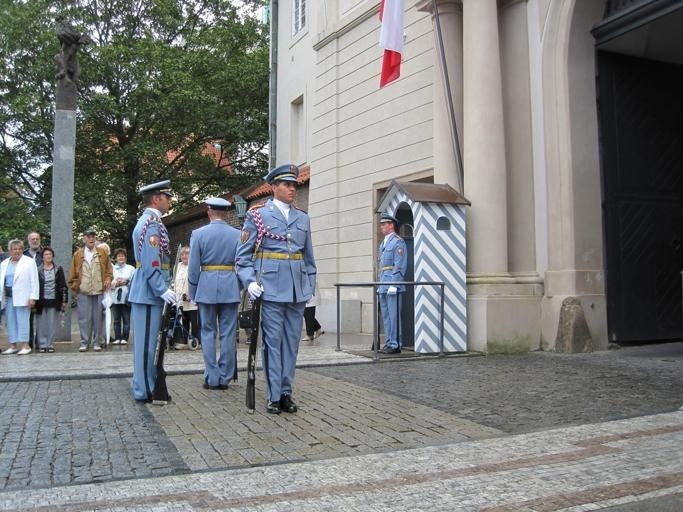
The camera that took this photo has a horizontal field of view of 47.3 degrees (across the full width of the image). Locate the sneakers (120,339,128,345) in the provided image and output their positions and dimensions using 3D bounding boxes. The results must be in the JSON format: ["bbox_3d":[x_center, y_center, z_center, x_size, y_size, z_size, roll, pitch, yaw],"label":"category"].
[{"bbox_3d":[-4.173,1.625,14.826,0.088,0.094,0.234,0,-9,-8],"label":"sneakers"}]

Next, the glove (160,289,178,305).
[{"bbox_3d":[-2.099,0.500,9.572,0.148,0.207,0.071,5,11,21],"label":"glove"}]

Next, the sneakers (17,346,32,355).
[{"bbox_3d":[-5.469,1.628,13.376,0.101,0.105,0.279,-3,-9,1],"label":"sneakers"}]

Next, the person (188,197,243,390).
[{"bbox_3d":[-1.680,0.472,10.664,0.704,2.503,0.601,-1,5,-6],"label":"person"}]

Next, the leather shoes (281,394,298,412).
[{"bbox_3d":[-0.624,1.716,9.116,0.202,0.193,0.180,-2,-5,-6],"label":"leather shoes"}]

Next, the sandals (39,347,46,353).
[{"bbox_3d":[-5.267,1.646,13.658,0.105,0.076,0.061,-2,-4,12],"label":"sandals"}]

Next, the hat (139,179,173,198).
[{"bbox_3d":[-2.410,-0.845,9.841,0.460,0.192,0.409,0,5,41],"label":"hat"}]

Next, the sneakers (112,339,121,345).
[{"bbox_3d":[-4.312,1.643,14.923,0.144,0.115,0.281,3,-1,-38],"label":"sneakers"}]

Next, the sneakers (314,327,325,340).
[{"bbox_3d":[-0.443,1.541,15.946,0.305,0.148,0.118,-42,-2,-39],"label":"sneakers"}]

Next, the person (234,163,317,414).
[{"bbox_3d":[-0.777,0.387,9.454,1.051,2.912,0.652,-2,4,-41],"label":"person"}]

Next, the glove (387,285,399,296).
[{"bbox_3d":[0.867,0.581,13.215,0.148,0.132,0.124,0,1,-18],"label":"glove"}]

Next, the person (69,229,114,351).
[{"bbox_3d":[-4.633,0.600,14.377,0.769,2.143,0.616,0,-5,-25],"label":"person"}]

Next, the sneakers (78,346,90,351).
[{"bbox_3d":[-4.644,1.646,13.916,0.069,0.083,0.191,1,-9,-6],"label":"sneakers"}]

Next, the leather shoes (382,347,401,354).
[{"bbox_3d":[0.848,1.608,13.267,0.310,0.136,0.107,5,-10,-14],"label":"leather shoes"}]

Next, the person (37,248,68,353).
[{"bbox_3d":[-5.219,0.770,13.903,0.399,1.832,0.530,-4,-5,16],"label":"person"}]

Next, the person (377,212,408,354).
[{"bbox_3d":[0.868,0.436,13.419,0.519,2.448,0.949,-2,-4,3],"label":"person"}]

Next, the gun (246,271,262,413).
[{"bbox_3d":[-1.100,1.076,9.704,0.076,1.617,0.334,4,-10,-9],"label":"gun"}]

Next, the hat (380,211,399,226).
[{"bbox_3d":[0.865,-0.665,13.673,0.249,0.134,0.225,18,-13,-34],"label":"hat"}]
